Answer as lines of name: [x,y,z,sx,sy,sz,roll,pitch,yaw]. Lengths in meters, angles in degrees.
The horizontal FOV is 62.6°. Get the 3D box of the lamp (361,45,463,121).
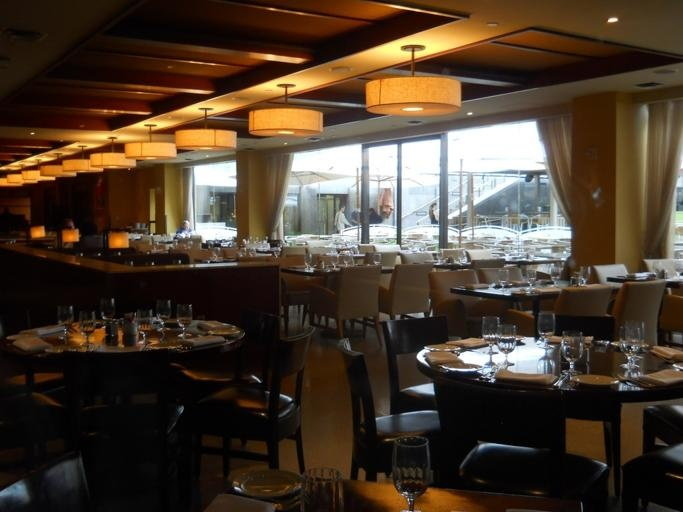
lamp: [0.783,-1.978,6.056,0.935,0.840,0.982,-1,2,36]

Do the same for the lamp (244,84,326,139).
lamp: [-0.813,-2.068,7.921,1.097,0.689,1.108,5,8,31]

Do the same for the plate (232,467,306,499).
plate: [-0.250,0.771,1.891,0.221,0.041,0.144,-2,1,-6]

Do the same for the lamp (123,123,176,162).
lamp: [-3.647,-2.234,10.836,0.776,0.523,0.758,-14,13,-38]

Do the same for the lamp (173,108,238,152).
lamp: [-2.292,-2.141,9.441,0.998,0.620,1.008,6,11,23]
